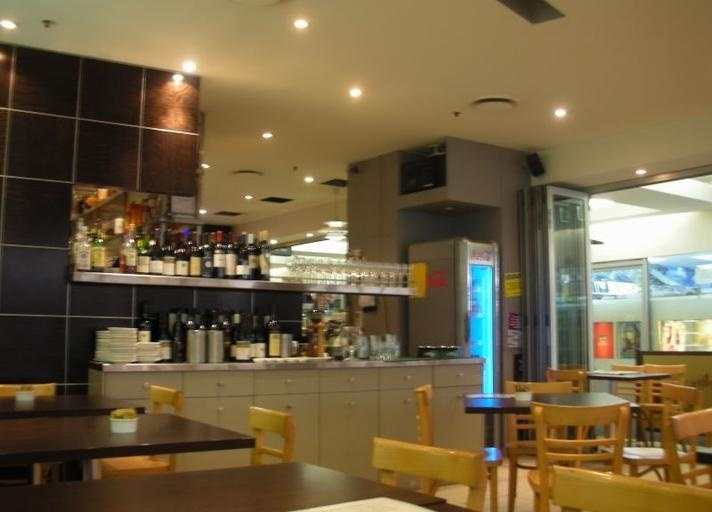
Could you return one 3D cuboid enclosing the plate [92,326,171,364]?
[{"bbox_3d":[-1.928,0.761,5.315,0.643,0.283,0.336,2,-6,-12],"label":"plate"}]

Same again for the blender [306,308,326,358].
[{"bbox_3d":[-0.396,0.802,6.165,0.192,0.466,0.172,-1,-12,6],"label":"blender"}]

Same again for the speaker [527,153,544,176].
[{"bbox_3d":[2.445,-1.236,8.440,0.099,0.256,0.392,-3,11,-9],"label":"speaker"}]
